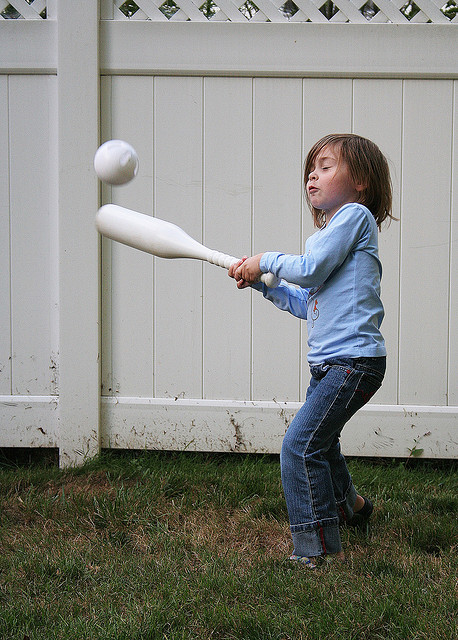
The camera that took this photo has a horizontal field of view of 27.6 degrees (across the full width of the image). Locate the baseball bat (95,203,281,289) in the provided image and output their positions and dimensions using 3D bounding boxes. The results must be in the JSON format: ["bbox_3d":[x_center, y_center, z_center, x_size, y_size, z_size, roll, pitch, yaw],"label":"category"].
[{"bbox_3d":[-0.105,-0.251,3.017,0.513,0.104,0.101,25,9,11],"label":"baseball bat"}]

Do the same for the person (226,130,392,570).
[{"bbox_3d":[0.280,0.047,2.606,0.482,1.108,0.458,-6,11,-29],"label":"person"}]

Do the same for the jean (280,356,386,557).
[{"bbox_3d":[0.268,0.350,2.479,0.232,0.520,0.222,4,11,24],"label":"jean"}]

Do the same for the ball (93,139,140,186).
[{"bbox_3d":[-0.308,-0.431,2.550,0.113,0.141,0.118,0,2,0],"label":"ball"}]
